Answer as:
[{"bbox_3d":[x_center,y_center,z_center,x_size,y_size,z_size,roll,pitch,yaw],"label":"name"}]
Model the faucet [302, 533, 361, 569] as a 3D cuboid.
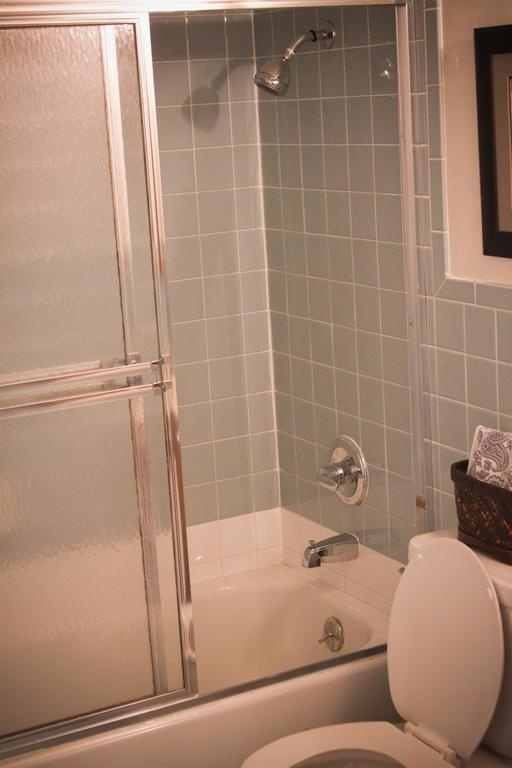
[{"bbox_3d":[0.201,0.444,1.713,0.141,0.069,0.087,-6,6,-16],"label":"faucet"}]
